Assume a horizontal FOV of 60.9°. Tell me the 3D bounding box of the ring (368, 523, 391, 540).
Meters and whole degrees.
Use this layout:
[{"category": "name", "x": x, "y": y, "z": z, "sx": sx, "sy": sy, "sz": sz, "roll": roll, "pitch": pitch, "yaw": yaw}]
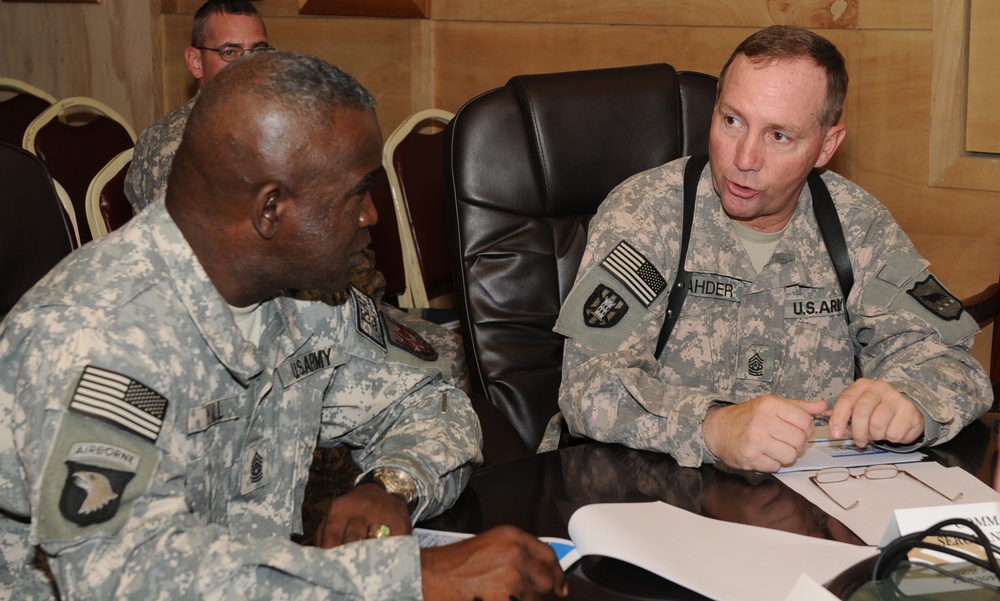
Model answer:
[{"category": "ring", "x": -0.237, "y": 0.463, "z": 1.712, "sx": 0.028, "sy": 0.015, "sz": 0.029, "roll": 8, "pitch": 32, "yaw": -5}]
